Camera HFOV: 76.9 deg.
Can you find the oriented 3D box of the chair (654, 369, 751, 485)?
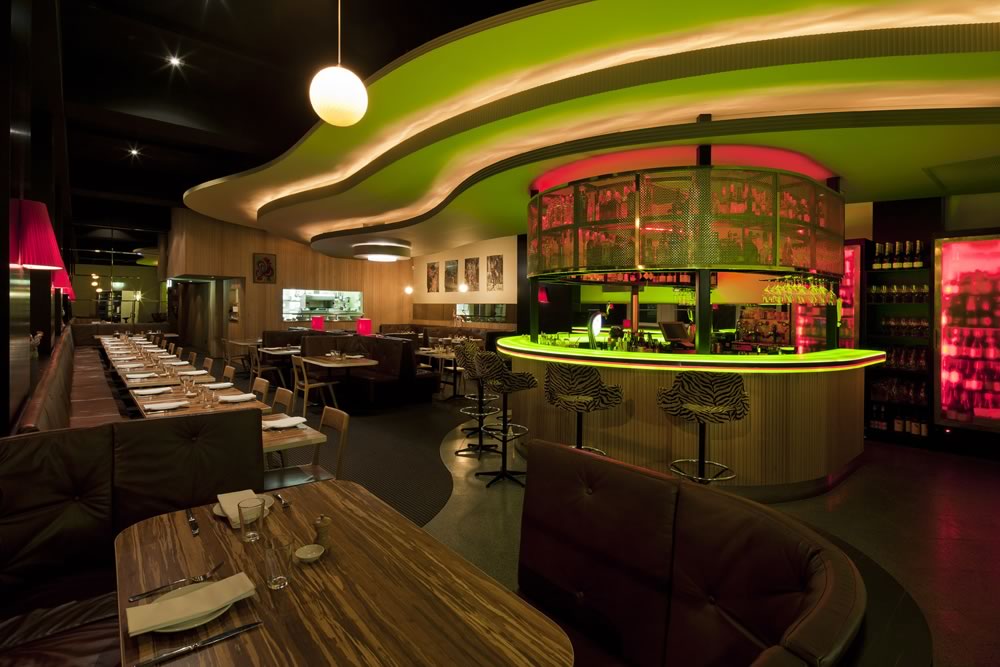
[{"bbox_3d":[2.166,1.000,6.694,0.794,1.187,0.789,4,2,27],"label":"chair"}]

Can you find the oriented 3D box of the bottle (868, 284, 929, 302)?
[{"bbox_3d":[5.440,-0.554,8.606,0.680,0.260,0.284,1,2,27],"label":"bottle"}]

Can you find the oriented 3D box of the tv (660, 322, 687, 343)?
[{"bbox_3d":[2.831,-0.009,10.162,0.502,0.314,0.243,0,2,-17],"label":"tv"}]

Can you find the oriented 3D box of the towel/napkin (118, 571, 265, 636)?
[{"bbox_3d":[-2.013,1.765,4.067,0.620,0.090,0.338,-10,19,-25],"label":"towel/napkin"}]

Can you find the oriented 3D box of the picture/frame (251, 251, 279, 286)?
[{"bbox_3d":[-6.096,-1.669,16.118,0.098,0.965,0.733,-13,-21,40],"label":"picture/frame"}]

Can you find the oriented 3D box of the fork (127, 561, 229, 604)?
[{"bbox_3d":[-2.158,1.680,4.189,0.469,0.071,0.082,-12,27,-19],"label":"fork"}]

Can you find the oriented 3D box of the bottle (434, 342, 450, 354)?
[{"bbox_3d":[-1.134,0.306,12.400,0.256,0.174,0.351,0,-1,-12],"label":"bottle"}]

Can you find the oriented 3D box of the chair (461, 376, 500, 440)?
[{"bbox_3d":[-0.278,0.986,8.518,0.473,0.806,0.451,-13,22,-34],"label":"chair"}]

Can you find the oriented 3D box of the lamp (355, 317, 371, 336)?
[{"bbox_3d":[-2.354,-0.097,10.874,0.227,0.299,0.720,0,2,-16],"label":"lamp"}]

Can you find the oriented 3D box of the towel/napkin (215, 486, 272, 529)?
[{"bbox_3d":[-1.970,1.278,4.655,0.282,0.088,0.278,-3,8,-36],"label":"towel/napkin"}]

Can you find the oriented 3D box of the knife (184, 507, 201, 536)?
[{"bbox_3d":[-2.251,1.379,4.586,0.068,0.060,0.337,-4,10,-26],"label":"knife"}]

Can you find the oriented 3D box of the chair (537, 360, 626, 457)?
[{"bbox_3d":[0.910,0.881,7.112,0.801,1.005,0.679,2,2,37],"label":"chair"}]

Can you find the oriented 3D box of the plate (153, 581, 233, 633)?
[{"bbox_3d":[-2.003,1.767,4.073,0.463,0.065,0.252,-9,24,-30],"label":"plate"}]

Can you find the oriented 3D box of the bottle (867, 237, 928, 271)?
[{"bbox_3d":[5.436,-1.054,8.559,0.466,0.292,0.462,1,2,0],"label":"bottle"}]

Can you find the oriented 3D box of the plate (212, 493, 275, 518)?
[{"bbox_3d":[-1.970,1.271,4.674,0.229,0.071,0.235,-1,5,18],"label":"plate"}]

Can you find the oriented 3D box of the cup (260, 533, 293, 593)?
[{"bbox_3d":[-1.559,1.593,4.314,0.215,0.374,0.218,-12,-11,-2],"label":"cup"}]

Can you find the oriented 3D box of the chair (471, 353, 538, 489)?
[{"bbox_3d":[0.074,1.035,7.561,0.655,1.402,0.775,4,-7,-11],"label":"chair"}]
